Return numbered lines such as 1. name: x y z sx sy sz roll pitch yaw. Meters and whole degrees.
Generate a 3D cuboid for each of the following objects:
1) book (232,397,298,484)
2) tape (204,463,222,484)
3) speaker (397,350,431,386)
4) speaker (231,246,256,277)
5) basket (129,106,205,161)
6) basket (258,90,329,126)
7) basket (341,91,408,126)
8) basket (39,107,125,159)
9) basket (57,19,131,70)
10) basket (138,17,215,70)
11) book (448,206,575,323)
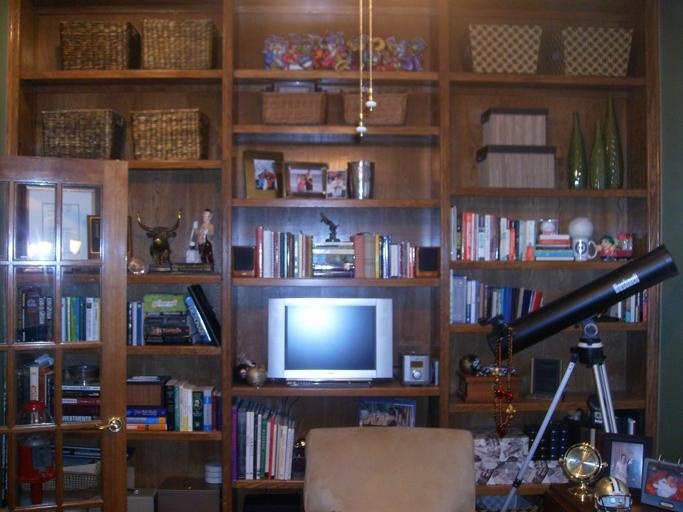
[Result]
1. book: -0.487 1.179 5.667 0.301 0.502 0.200 4 3 2
2. tape: -0.811 1.382 5.653 0.109 0.088 0.115 0 -4 6
3. speaker: 0.483 0.730 5.706 0.171 0.172 0.184 0 -6 -3
4. speaker: -0.614 0.035 5.620 0.151 0.186 0.048 -1 -3 -7
5. basket: -1.132 -0.776 5.815 0.431 0.319 0.262 -1 3 -1
6. basket: -0.296 -0.931 5.639 0.359 0.188 0.203 0 4 -6
7. basket: 0.228 -0.937 5.794 0.371 0.216 0.227 4 5 3
8. basket: -1.648 -0.769 5.724 0.505 0.312 0.197 0 -3 -15
9. basket: -1.558 -1.326 5.776 0.438 0.324 0.262 -1 -3 -3
10. basket: -1.040 -1.344 5.696 0.468 0.345 0.119 -1 -3 -2
11. book: 1.013 0.041 5.671 0.722 0.792 0.223 4 3 -9
